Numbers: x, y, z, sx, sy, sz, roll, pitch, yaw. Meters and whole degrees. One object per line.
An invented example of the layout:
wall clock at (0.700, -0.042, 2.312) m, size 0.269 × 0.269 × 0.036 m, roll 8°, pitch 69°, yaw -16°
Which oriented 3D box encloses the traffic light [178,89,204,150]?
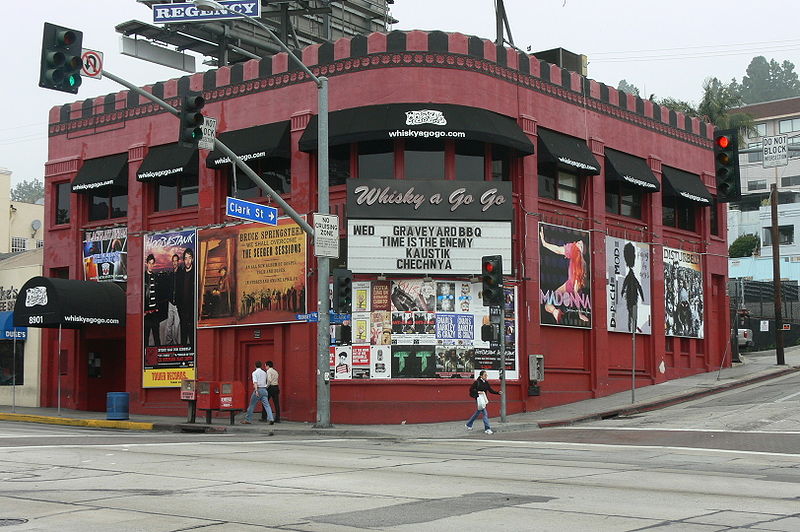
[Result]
traffic light at (-6.626, -4.738, 34.650) m, size 0.764 × 1.773 × 1.216 m, roll 2°, pitch -11°, yaw -11°

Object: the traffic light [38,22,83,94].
traffic light at (-9.752, -5.984, 31.835) m, size 1.134 × 1.892 × 0.477 m, roll 6°, pitch -3°, yaw -37°

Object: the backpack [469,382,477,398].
backpack at (2.660, 4.532, 40.191) m, size 0.259 × 0.540 × 0.441 m, roll -1°, pitch -11°, yaw 3°

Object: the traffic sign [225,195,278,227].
traffic sign at (-5.755, -1.994, 39.730) m, size 2.124 × 0.930 × 1.626 m, roll 9°, pitch -15°, yaw -39°

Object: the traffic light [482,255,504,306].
traffic light at (3.421, 0.535, 41.098) m, size 0.716 × 1.943 × 0.611 m, roll -1°, pitch -11°, yaw 2°

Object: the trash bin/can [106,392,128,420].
trash bin/can at (-11.647, 5.722, 44.778) m, size 0.975 × 1.137 × 1.000 m, roll -3°, pitch -5°, yaw 33°
